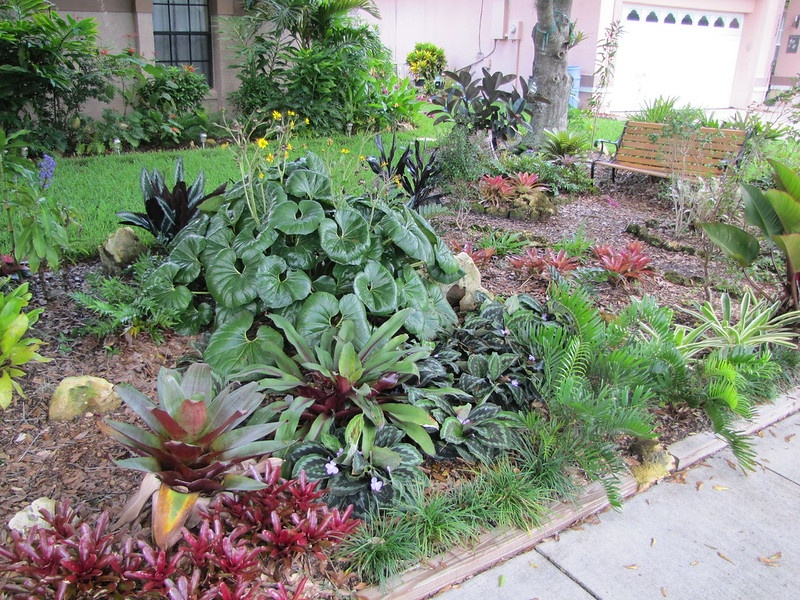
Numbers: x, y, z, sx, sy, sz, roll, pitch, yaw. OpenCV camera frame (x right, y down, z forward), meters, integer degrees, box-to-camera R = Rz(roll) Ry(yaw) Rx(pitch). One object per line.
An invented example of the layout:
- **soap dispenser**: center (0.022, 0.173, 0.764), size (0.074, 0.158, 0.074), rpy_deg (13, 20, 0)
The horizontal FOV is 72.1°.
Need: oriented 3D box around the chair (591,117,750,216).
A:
- **chair**: center (3.721, -1.948, 7.801), size (0.693, 0.976, 2.087), rpy_deg (-14, 26, -23)
